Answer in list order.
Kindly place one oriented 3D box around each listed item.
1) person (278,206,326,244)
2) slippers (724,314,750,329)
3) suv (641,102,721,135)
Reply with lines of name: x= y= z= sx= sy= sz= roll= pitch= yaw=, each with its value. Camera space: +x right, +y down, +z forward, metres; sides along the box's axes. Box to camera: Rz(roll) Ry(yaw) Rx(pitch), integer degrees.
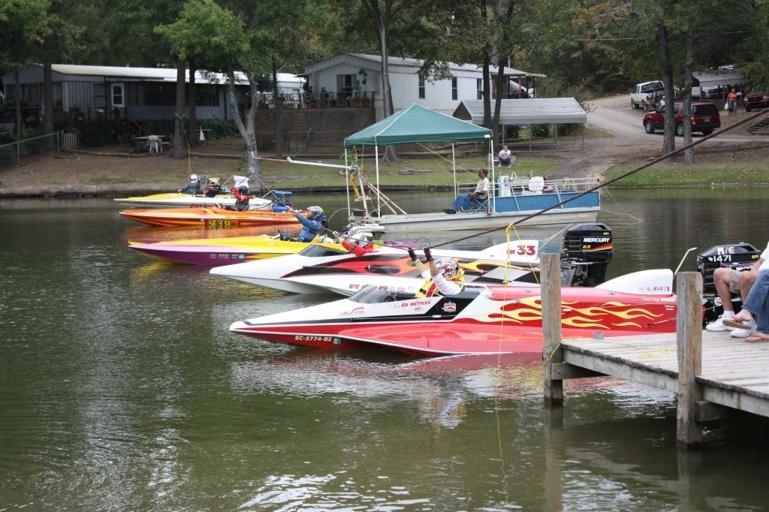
person: x=-2.856 y=-1.021 z=40.128 sx=1.250 sy=1.838 sz=0.669 roll=23 pitch=46 yaw=-23
slippers: x=8.555 y=1.636 z=27.858 sx=0.686 sy=0.210 sz=0.190 roll=9 pitch=2 yaw=-1
suv: x=17.269 y=-7.865 z=66.771 sx=3.257 sy=1.601 sz=5.692 roll=-7 pitch=12 yaw=-29
